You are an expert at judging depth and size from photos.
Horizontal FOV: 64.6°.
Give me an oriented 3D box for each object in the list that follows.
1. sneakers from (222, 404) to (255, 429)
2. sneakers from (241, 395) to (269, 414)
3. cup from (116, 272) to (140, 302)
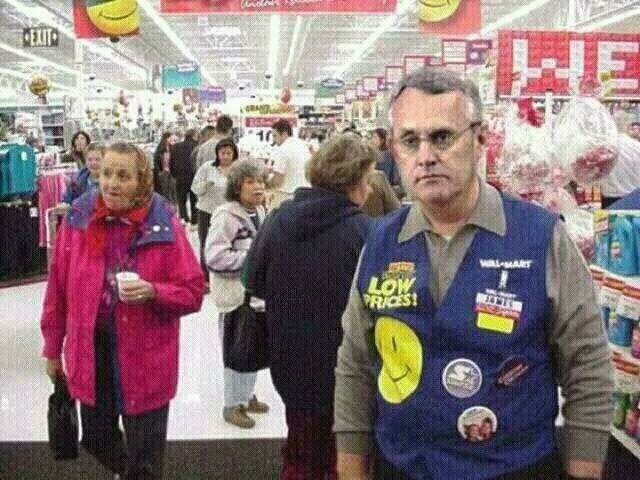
[{"bbox_3d":[-0.540,1.187,3.444,0.265,0.101,0.098,4,5,36],"label":"sneakers"},{"bbox_3d":[-0.446,1.164,3.557,0.185,0.071,0.069,0,4,13],"label":"sneakers"},{"bbox_3d":[-0.816,0.192,2.158,0.120,0.108,0.116,5,11,-1],"label":"cup"}]
